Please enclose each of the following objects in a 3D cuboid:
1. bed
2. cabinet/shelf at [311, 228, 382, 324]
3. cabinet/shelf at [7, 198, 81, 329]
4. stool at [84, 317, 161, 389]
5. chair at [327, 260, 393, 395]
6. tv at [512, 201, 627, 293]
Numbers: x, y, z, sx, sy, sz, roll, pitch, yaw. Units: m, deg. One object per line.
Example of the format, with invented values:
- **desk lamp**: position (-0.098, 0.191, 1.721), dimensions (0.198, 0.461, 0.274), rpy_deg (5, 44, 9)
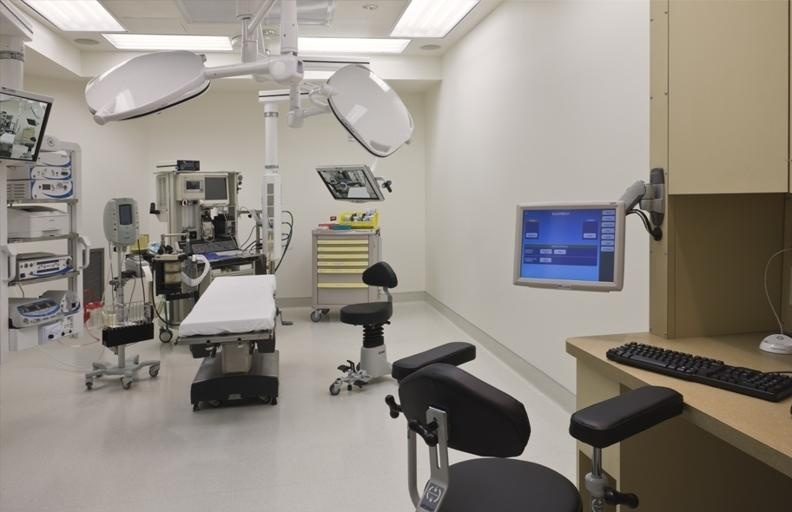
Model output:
- **bed**: position (-1.324, 0.767, 4.908), dimensions (0.678, 0.774, 1.540), rpy_deg (-4, 2, -11)
- **cabinet/shelf**: position (-0.666, 0.140, 7.282), dimensions (0.896, 1.154, 1.064), rpy_deg (-2, 18, -13)
- **cabinet/shelf**: position (-2.753, 0.036, 4.534), dimensions (0.516, 0.919, 0.616), rpy_deg (-6, 13, -23)
- **stool**: position (-2.419, 0.823, 5.057), dimensions (0.552, 0.530, 0.564), rpy_deg (6, 7, 35)
- **chair**: position (-0.241, 0.583, 4.949), dimensions (0.701, 1.052, 0.572), rpy_deg (-6, 9, -39)
- **tv**: position (0.899, -0.052, 2.966), dimensions (0.499, 0.427, 0.069), rpy_deg (1, -3, 25)
